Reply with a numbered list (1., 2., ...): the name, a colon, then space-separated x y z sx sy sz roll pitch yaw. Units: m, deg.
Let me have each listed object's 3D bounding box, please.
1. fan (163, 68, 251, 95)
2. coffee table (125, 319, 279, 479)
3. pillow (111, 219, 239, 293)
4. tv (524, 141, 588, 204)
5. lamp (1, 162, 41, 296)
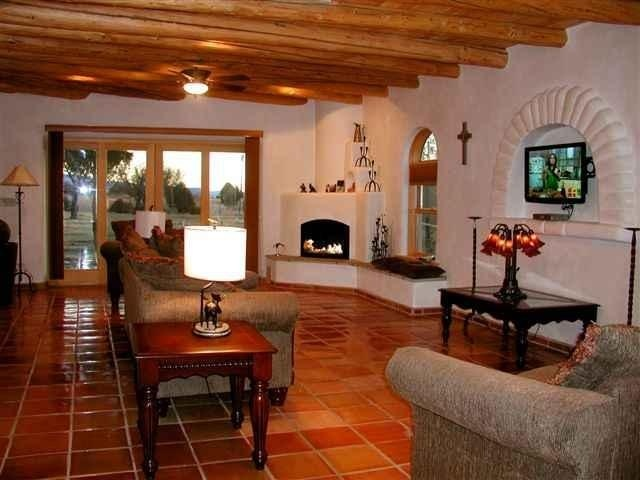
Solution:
1. fan: -1.582 -2.193 7.068 0.611 0.223 0.638 1 5 18
2. coffee table: -0.755 0.836 3.227 0.799 0.750 0.825 0 -1 -17
3. pillow: -1.234 0.135 4.152 0.863 0.484 1.394 2 -4 -22
4. tv: 2.495 -0.708 5.384 0.088 0.626 0.670 -2 3 -25
5. lamp: -4.970 -0.206 8.472 0.556 2.081 1.031 -2 5 -30
